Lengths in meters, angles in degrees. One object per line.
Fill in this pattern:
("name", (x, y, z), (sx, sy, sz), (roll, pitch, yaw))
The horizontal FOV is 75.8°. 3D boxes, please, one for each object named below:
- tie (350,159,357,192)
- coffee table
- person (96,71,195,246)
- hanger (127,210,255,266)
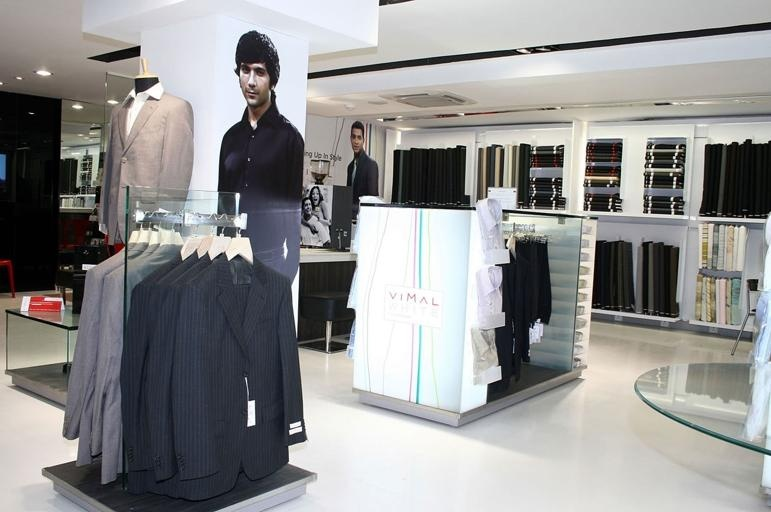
("tie", (-0.615, -1.566, 9.653), (0.109, 0.698, 0.270), (6, 7, 28))
("coffee table", (-2.976, 0.869, 4.291), (0.826, 0.589, 0.447), (8, 6, 38))
("person", (-1.866, -0.700, 3.718), (0.759, 1.256, 0.453), (4, 7, 14))
("hanger", (-1.111, -0.122, 2.901), (0.677, 0.294, 0.415), (1, 7, -12))
